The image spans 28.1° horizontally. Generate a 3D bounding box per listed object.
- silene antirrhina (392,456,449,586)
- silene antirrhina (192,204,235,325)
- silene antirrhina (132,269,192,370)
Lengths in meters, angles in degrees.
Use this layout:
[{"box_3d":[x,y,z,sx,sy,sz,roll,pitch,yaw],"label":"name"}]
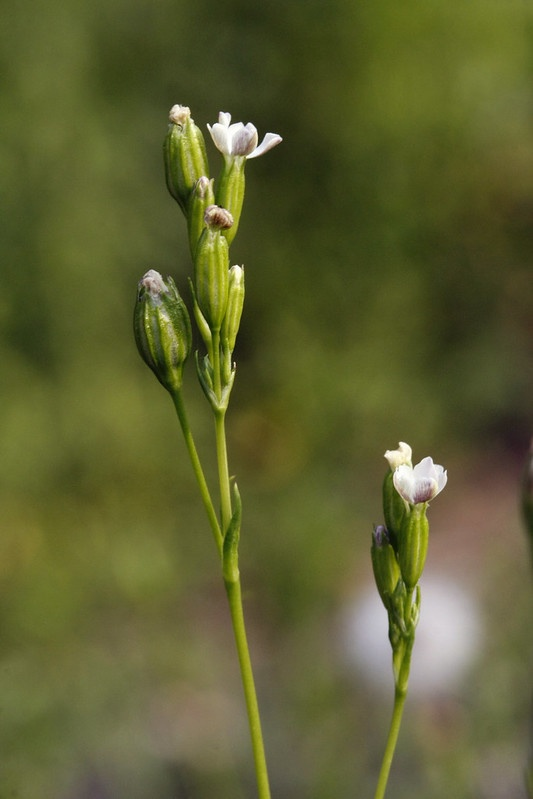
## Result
[{"box_3d":[0.120,0.095,0.832,0.039,0.073,0.107,-6,-49,0],"label":"silene antirrhina"},{"box_3d":[-0.042,-0.101,0.825,0.029,0.049,0.088,1,-51,-7],"label":"silene antirrhina"},{"box_3d":[-0.073,-0.055,0.839,0.040,0.034,0.095,-18,-49,-4],"label":"silene antirrhina"}]
